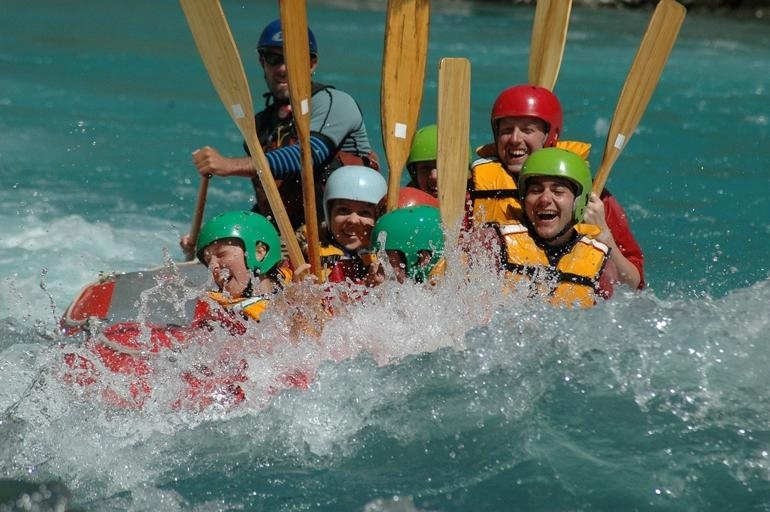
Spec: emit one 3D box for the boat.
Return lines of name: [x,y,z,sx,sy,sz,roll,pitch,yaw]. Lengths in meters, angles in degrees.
boat: [-1.759,0.538,6.955,1.164,0.491,1.537,9,24,21]

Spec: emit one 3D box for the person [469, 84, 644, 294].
person: [1.469,-0.579,7.775,1.317,1.882,0.844,-2,-4,22]

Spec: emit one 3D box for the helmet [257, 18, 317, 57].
helmet: [-0.933,-1.847,7.579,0.342,0.213,0.447,1,-15,-1]

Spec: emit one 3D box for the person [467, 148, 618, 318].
person: [1.316,-0.153,6.856,1.117,1.202,0.588,8,4,19]

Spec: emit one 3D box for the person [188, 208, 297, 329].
person: [-1.127,0.207,7.126,0.876,0.731,0.966,9,63,-33]

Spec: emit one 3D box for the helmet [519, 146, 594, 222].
helmet: [1.411,-0.560,7.000,0.470,0.462,0.639,0,-5,36]

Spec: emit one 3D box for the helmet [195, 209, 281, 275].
helmet: [-1.173,-0.086,7.012,0.620,0.455,0.440,5,-12,-34]

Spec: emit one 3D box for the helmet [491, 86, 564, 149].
helmet: [1.264,-1.200,7.757,0.473,0.462,0.610,-5,1,31]
